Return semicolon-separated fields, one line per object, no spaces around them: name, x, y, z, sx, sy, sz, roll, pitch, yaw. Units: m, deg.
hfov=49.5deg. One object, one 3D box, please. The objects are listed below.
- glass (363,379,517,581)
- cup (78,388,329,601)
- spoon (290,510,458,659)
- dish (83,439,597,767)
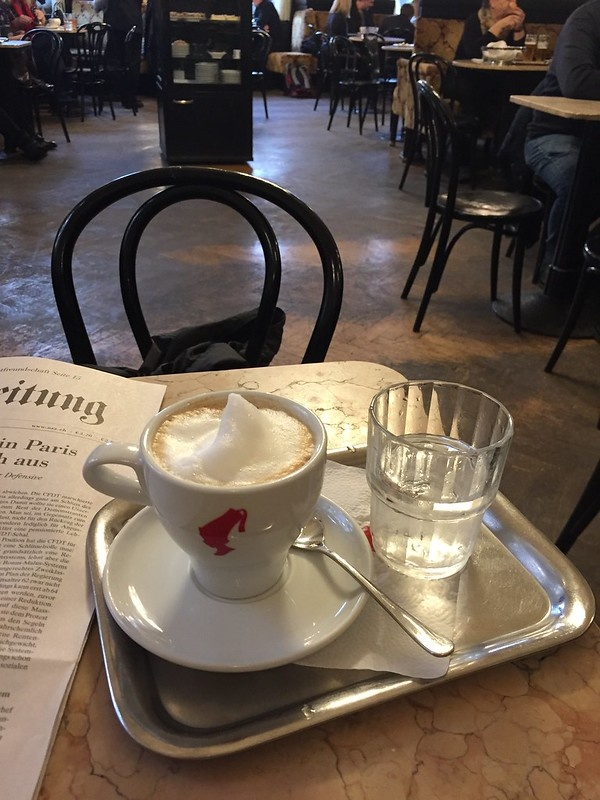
glass;0.065;0.069;0.498;0.132;0.141;0.129;-1;37;-1
cup;-0.049;0.067;0.424;0.172;0.114;0.126;1;32;0
spoon;0.037;0.118;0.442;0.037;0.019;0.183;-14;22;-25
dish;0.022;0.107;0.448;0.316;0.035;0.237;-10;34;-20
